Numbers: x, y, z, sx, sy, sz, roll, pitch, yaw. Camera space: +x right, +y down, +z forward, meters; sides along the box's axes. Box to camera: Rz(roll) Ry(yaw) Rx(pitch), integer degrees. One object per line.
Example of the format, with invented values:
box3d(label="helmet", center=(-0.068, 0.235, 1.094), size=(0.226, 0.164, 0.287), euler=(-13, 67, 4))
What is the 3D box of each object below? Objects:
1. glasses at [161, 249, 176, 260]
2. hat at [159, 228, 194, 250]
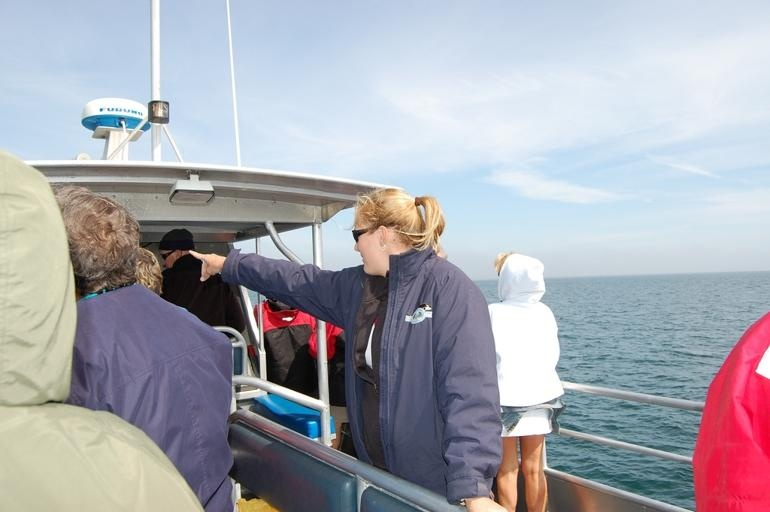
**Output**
box3d(label="glasses", center=(-2.146, -0.017, 5.935), size=(0.134, 0.098, 0.173), euler=(0, 5, -17))
box3d(label="hat", center=(-1.976, -0.152, 5.745), size=(0.264, 0.185, 0.193), euler=(-3, 9, -34))
